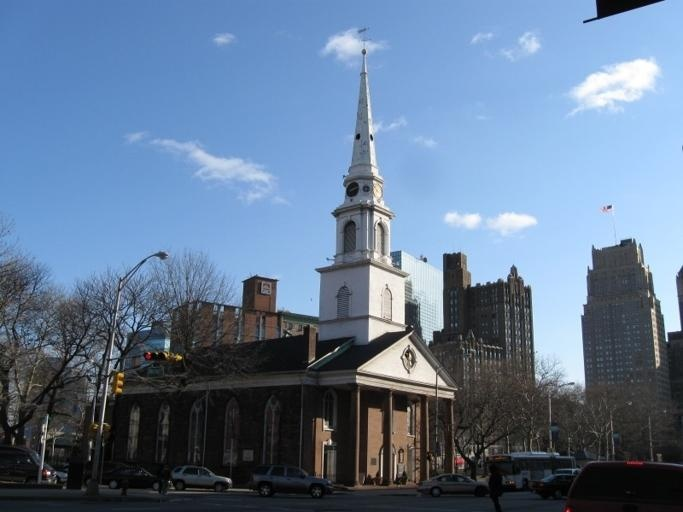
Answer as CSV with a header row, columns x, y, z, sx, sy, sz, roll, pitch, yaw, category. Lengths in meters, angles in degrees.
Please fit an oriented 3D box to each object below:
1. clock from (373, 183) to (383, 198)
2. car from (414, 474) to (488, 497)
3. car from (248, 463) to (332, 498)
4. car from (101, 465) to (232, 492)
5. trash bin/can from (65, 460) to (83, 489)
x,y,z,sx,sy,sz,roll,pitch,yaw,category
3.443,-6.079,72.599,0.180,1.843,1.571,-11,-9,25,clock
8.270,17.004,56.792,4.867,1.527,1.423,2,-18,-6,car
-3.522,15.342,52.046,5.079,2.081,2.004,1,-18,-3,car
-12.409,16.369,56.040,8.681,2.266,3.684,0,-20,-6,car
-17.398,14.434,50.346,0.929,1.719,0.915,8,-19,-22,trash bin/can
